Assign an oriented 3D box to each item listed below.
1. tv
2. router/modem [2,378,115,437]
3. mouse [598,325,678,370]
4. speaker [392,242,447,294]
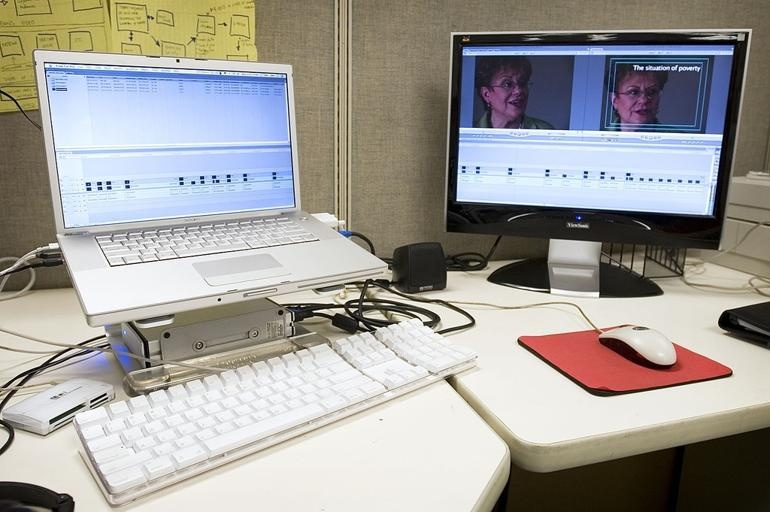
[{"bbox_3d":[0.505,-0.236,1.356,0.985,0.662,0.266,1,10,9],"label":"tv"},{"bbox_3d":[-0.533,0.239,0.910,0.093,0.021,0.113,9,16,26],"label":"router/modem"},{"bbox_3d":[0.492,0.158,1.081,0.097,0.040,0.146,-18,20,-18],"label":"mouse"},{"bbox_3d":[0.086,0.028,1.403,0.182,0.123,0.126,-3,6,-13],"label":"speaker"}]
